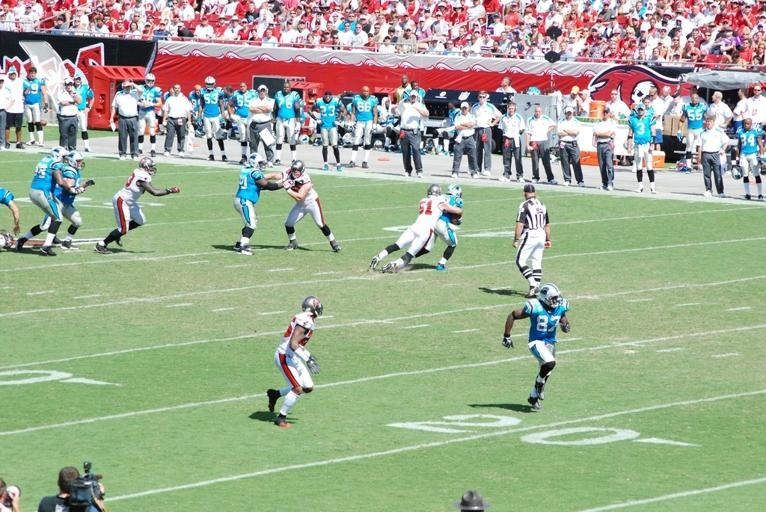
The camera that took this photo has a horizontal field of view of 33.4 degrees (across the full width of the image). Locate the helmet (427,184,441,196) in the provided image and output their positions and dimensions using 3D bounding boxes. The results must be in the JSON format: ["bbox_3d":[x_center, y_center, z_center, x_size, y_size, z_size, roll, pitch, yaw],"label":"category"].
[{"bbox_3d":[0.910,-1.159,21.749,0.193,0.208,0.231,8,-14,43],"label":"helmet"}]

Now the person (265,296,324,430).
[{"bbox_3d":[-1.040,1.299,15.165,0.661,1.595,0.917,-3,3,-6],"label":"person"}]

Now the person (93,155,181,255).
[{"bbox_3d":[-4.318,-0.914,22.289,1.157,1.723,0.547,-2,3,19],"label":"person"}]

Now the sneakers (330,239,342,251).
[{"bbox_3d":[-0.852,-0.209,22.921,0.148,0.240,0.092,-30,-26,-35],"label":"sneakers"}]

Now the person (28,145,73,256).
[{"bbox_3d":[-5.676,-0.974,22.027,0.767,1.937,0.482,-3,3,2],"label":"person"}]

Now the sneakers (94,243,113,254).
[{"bbox_3d":[-4.860,-0.119,22.287,0.357,0.112,0.196,21,-44,-30],"label":"sneakers"}]

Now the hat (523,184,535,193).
[{"bbox_3d":[2.290,-1.080,19.897,0.207,0.125,0.271,-2,17,-3],"label":"hat"}]

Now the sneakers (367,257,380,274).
[{"bbox_3d":[-0.147,0.138,21.325,0.166,0.127,0.335,-28,-23,-24],"label":"sneakers"}]

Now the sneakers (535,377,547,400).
[{"bbox_3d":[1.895,1.654,15.478,0.138,0.373,0.168,-4,-38,7],"label":"sneakers"}]

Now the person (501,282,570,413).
[{"bbox_3d":[1.923,1.137,16.030,0.837,1.580,1.519,-2,3,6],"label":"person"}]

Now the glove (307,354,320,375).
[{"bbox_3d":[-0.828,1.335,14.796,0.098,0.200,0.181,-18,-17,24],"label":"glove"}]

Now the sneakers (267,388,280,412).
[{"bbox_3d":[-1.283,1.823,15.226,0.180,0.334,0.128,1,16,0],"label":"sneakers"}]

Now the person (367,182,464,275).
[{"bbox_3d":[0.640,-0.638,21.803,2.122,1.261,1.029,-27,46,-24],"label":"person"}]

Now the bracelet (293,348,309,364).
[{"bbox_3d":[-0.913,1.237,14.835,0.157,0.194,0.189,-43,-13,-19],"label":"bracelet"}]

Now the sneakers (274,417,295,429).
[{"bbox_3d":[-1.138,2.066,14.981,0.222,0.121,0.110,1,20,1],"label":"sneakers"}]

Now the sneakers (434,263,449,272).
[{"bbox_3d":[1.000,0.189,21.846,0.186,0.149,0.107,-7,23,10],"label":"sneakers"}]

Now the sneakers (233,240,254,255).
[{"bbox_3d":[-2.373,-0.147,22.502,0.463,0.187,0.161,11,18,37],"label":"sneakers"}]

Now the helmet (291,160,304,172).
[{"bbox_3d":[-1.466,-1.621,22.084,0.218,0.198,0.230,1,4,11],"label":"helmet"}]

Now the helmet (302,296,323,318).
[{"bbox_3d":[-0.796,0.628,14.912,0.332,0.241,0.237,-1,12,-22],"label":"helmet"}]

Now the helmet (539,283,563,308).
[{"bbox_3d":[1.981,0.510,15.491,0.339,0.228,0.278,6,9,30],"label":"helmet"}]

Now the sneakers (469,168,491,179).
[{"bbox_3d":[2.424,-2.148,31.972,0.629,0.216,0.202,3,-5,-38],"label":"sneakers"}]

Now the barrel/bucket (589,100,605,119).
[{"bbox_3d":[5.654,-4.048,33.746,0.444,0.492,0.322,-2,3,8],"label":"barrel/bucket"}]

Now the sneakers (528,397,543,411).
[{"bbox_3d":[1.848,1.895,15.500,0.096,0.154,0.255,-2,8,-17],"label":"sneakers"}]

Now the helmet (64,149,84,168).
[{"bbox_3d":[-5.265,-1.762,22.095,0.361,0.262,0.266,-8,40,-36],"label":"helmet"}]
